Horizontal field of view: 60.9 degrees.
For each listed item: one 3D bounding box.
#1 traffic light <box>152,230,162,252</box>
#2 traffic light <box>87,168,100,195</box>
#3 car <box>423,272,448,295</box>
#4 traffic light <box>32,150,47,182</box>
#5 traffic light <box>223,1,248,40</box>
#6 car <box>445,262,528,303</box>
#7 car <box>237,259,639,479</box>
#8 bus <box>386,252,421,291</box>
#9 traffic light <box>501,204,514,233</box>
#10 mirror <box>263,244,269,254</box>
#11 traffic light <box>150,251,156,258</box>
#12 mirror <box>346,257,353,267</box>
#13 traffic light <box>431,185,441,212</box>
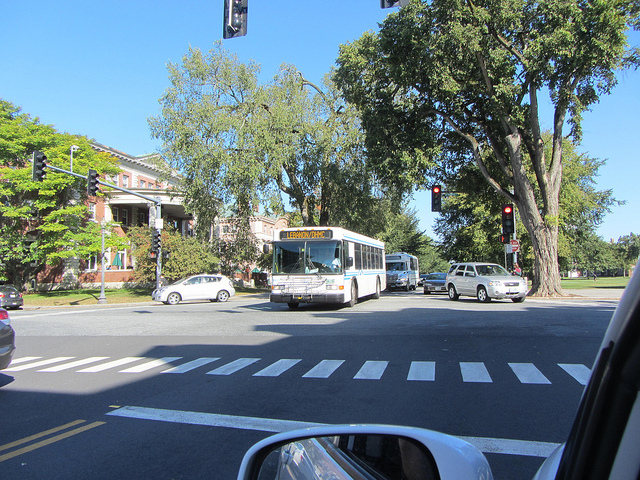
[{"bbox_3d":[-9.229,0.046,30.751,0.343,1.179,0.331,-1,-2,-2],"label":"traffic light"},{"bbox_3d":[-10.122,-2.671,24.263,0.390,1.125,0.754,0,-2,-22],"label":"traffic light"},{"bbox_3d":[7.786,2.830,37.076,0.992,0.867,2.289,-2,-10,4],"label":"car"},{"bbox_3d":[-11.098,-3.027,21.583,0.481,1.115,1.202,0,-2,-27],"label":"traffic light"},{"bbox_3d":[-1.811,-4.732,11.638,0.475,0.818,0.224,-1,-2,5],"label":"traffic light"},{"bbox_3d":[7.720,1.920,25.427,1.711,1.506,3.584,2,-8,-21],"label":"car"},{"bbox_3d":[0.490,0.707,2.856,1.804,1.022,1.164,0,-1,12],"label":"car"},{"bbox_3d":[7.029,2.753,46.820,1.870,2.434,5.205,-3,-10,16],"label":"bus"},{"bbox_3d":[9.437,-1.111,27.240,0.535,1.389,0.523,-1,-2,18],"label":"traffic light"},{"bbox_3d":[-2.158,0.326,21.878,0.276,0.501,0.287,0,-1,-17],"label":"mirror"},{"bbox_3d":[-9.653,0.815,31.286,0.454,0.327,0.482,0,-5,-2],"label":"traffic light"},{"bbox_3d":[1.147,0.828,21.293,0.290,0.347,0.283,-1,-1,-5],"label":"mirror"},{"bbox_3d":[5.839,-2.138,27.258,0.394,1.327,0.521,-2,-2,34],"label":"traffic light"}]
